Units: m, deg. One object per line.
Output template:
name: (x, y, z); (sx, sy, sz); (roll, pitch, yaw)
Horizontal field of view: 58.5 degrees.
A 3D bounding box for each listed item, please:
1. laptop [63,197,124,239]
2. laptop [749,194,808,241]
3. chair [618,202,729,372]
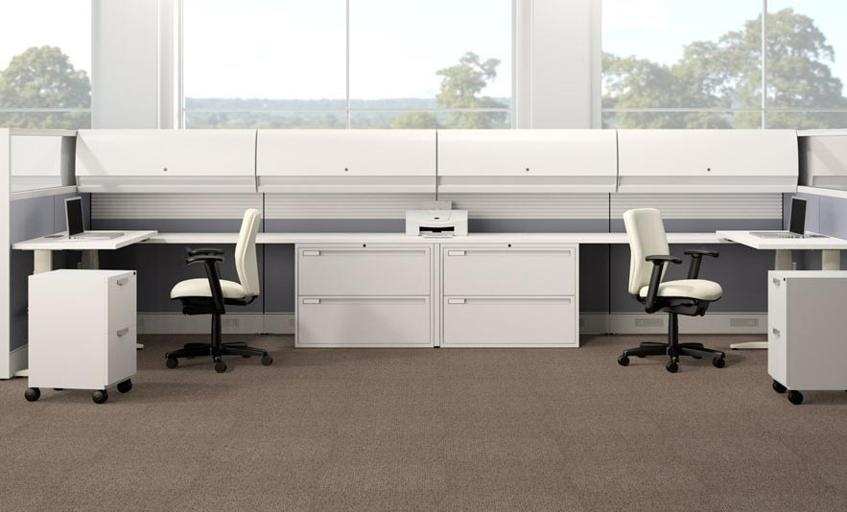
laptop: (-3.823, -0.412, 8.703); (0.562, 0.419, 0.667); (1, 2, -6)
laptop: (4.141, -0.418, 8.821); (0.533, 0.363, 0.629); (-1, 0, 4)
chair: (2.683, 0.346, 8.318); (1.101, 1.729, 0.840); (-5, 7, -25)
